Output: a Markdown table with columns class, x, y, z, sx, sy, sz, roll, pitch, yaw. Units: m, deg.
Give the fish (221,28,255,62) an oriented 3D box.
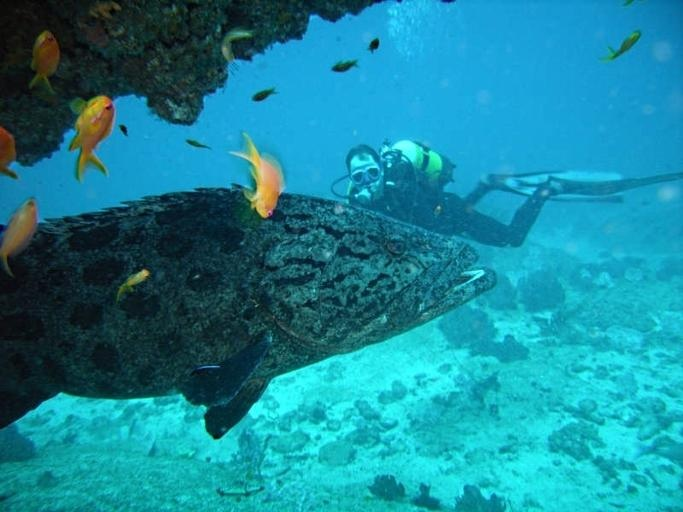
| class | x | y | z | sx | sy | sz | roll | pitch | yaw |
| --- | --- | --- | --- | --- | --- | --- | --- | --- | --- |
| fish | -2.091 | -4.227 | 12.164 | 0.668 | 0.600 | 0.234 | -9 | 31 | -8 |
